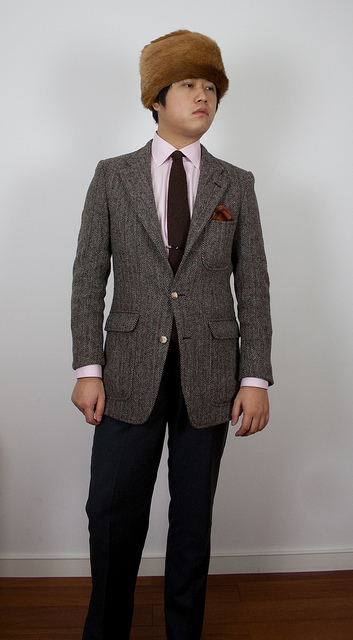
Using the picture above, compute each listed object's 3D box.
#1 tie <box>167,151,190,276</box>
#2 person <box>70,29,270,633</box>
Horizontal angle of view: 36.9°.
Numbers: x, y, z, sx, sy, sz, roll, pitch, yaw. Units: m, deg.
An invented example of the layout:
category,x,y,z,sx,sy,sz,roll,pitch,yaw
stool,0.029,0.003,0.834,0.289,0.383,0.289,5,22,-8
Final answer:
category,x,y,z,sx,sy,sz,roll,pitch,yaw
tie,0.003,-0.244,1.197,0.043,0.270,0.030,2,-9,-6
person,-0.007,0.044,1.267,0.459,1.472,0.267,2,2,10
